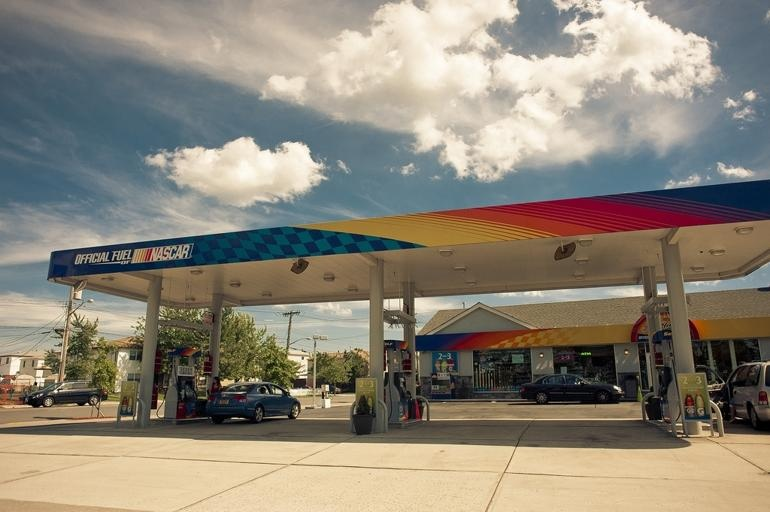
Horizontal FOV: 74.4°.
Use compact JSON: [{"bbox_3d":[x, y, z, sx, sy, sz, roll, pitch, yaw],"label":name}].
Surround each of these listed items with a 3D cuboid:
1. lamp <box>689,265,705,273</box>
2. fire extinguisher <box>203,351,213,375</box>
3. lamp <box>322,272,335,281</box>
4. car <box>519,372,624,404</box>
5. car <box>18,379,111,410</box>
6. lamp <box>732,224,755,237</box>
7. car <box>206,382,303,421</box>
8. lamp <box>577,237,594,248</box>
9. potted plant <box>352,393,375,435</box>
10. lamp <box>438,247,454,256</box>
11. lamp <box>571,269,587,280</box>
[{"bbox_3d":[11.473,0.475,18.545,0.418,0.136,0.399,1,-4,-7],"label":"lamp"},{"bbox_3d":[-7.561,4.578,21.635,0.359,0.953,0.304,4,-16,-18],"label":"fire extinguisher"},{"bbox_3d":[-2.184,0.801,19.602,0.389,0.271,0.373,0,-12,1],"label":"lamp"},{"bbox_3d":[10.354,7.391,28.328,4.917,1.586,0.878,-5,-16,16],"label":"car"},{"bbox_3d":[-19.886,8.487,31.189,3.339,1.489,1.360,12,-20,-41],"label":"car"},{"bbox_3d":[10.051,-0.733,14.203,0.393,0.132,0.376,10,-15,-25],"label":"lamp"},{"bbox_3d":[-4.930,5.746,20.005,1.500,1.009,3.333,-9,-13,34],"label":"car"},{"bbox_3d":[6.199,-0.380,15.596,0.461,0.184,1.310,-6,-16,19],"label":"lamp"},{"bbox_3d":[-0.685,4.844,15.505,0.697,1.139,0.420,-2,-15,4],"label":"potted plant"},{"bbox_3d":[1.984,-0.115,16.347,0.469,0.130,0.853,-4,-15,10],"label":"lamp"},{"bbox_3d":[7.546,0.716,19.658,0.495,0.321,0.442,-3,-10,2],"label":"lamp"}]
